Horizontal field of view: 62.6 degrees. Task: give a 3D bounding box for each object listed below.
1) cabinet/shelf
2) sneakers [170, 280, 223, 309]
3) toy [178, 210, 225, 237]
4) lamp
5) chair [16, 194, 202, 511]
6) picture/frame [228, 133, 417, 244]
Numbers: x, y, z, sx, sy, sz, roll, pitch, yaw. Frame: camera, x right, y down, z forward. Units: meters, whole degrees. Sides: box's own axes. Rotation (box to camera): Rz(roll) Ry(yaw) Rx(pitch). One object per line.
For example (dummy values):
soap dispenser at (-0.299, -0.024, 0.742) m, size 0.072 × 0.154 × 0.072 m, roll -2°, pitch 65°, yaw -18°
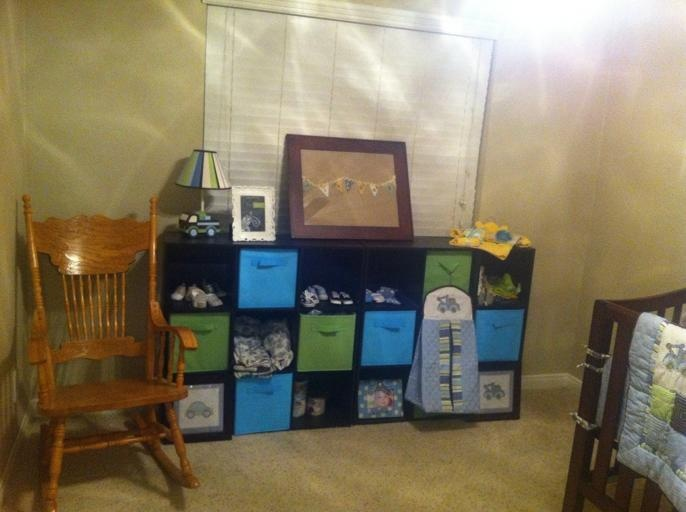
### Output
cabinet/shelf at (0.042, 0.509, 3.746) m, size 2.298 × 1.209 × 0.472 m, roll 0°, pitch 9°, yaw -8°
sneakers at (-0.877, 0.248, 3.424) m, size 0.213 × 0.065 × 0.165 m, roll 6°, pitch 14°, yaw 32°
toy at (-0.874, -0.192, 3.443) m, size 0.206 × 0.128 × 0.161 m, roll 1°, pitch 4°, yaw -20°
lamp at (-0.871, -0.387, 3.472) m, size 0.299 × 0.502 × 0.303 m, roll 13°, pitch 15°, yaw 12°
chair at (-1.309, 0.450, 3.177) m, size 0.801 × 1.581 × 1.095 m, roll -5°, pitch 7°, yaw -27°
picture/frame at (-0.185, -0.421, 3.656) m, size 0.752 × 0.595 × 0.052 m, roll 2°, pitch -15°, yaw -19°
